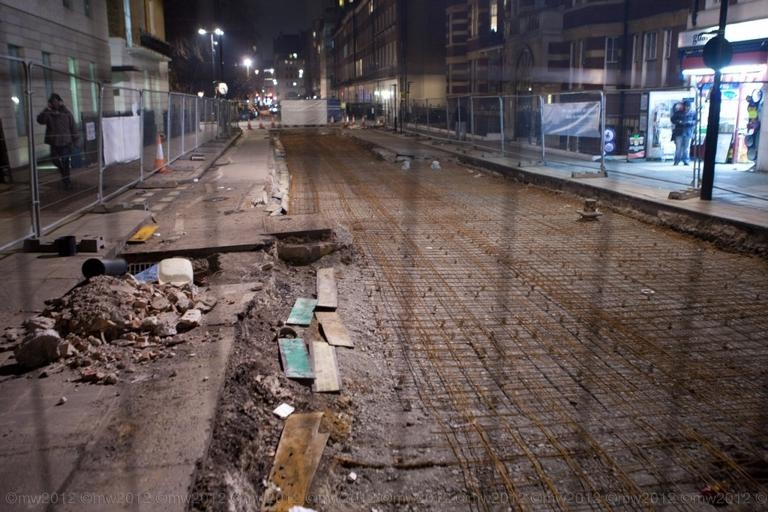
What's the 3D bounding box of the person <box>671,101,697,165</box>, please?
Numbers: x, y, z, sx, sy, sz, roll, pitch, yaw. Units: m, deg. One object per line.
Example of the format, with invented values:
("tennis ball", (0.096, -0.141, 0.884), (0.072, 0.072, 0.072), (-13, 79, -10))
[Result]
("person", (10.309, -4.302, 17.616), (0.719, 2.175, 0.850), (11, 19, 30))
